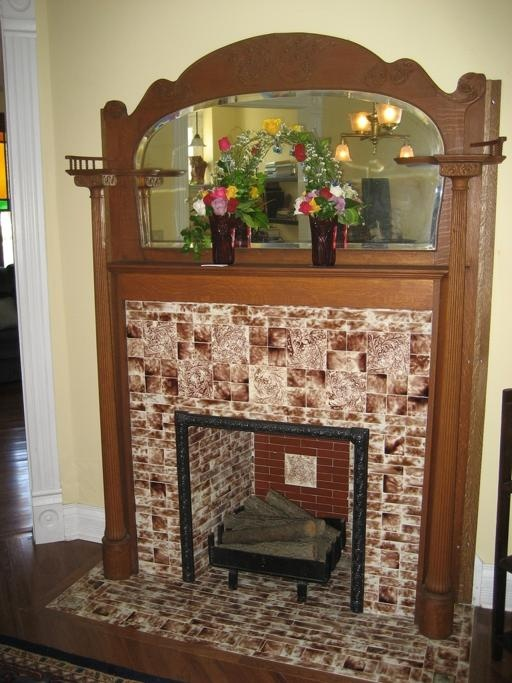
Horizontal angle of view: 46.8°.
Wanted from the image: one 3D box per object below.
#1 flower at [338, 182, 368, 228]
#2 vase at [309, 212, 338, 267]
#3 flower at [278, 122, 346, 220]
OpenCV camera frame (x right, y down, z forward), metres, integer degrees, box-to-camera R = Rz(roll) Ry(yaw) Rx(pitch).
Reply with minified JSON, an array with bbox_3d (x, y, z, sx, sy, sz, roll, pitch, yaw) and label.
[{"bbox_3d":[0.355,-0.511,2.215,0.087,0.159,0.140,0,9,13],"label":"flower"},{"bbox_3d":[0.256,-0.374,2.245,0.096,0.183,0.181,-1,9,7],"label":"vase"},{"bbox_3d":[0.201,-0.638,2.227,0.282,0.358,0.159,7,13,44],"label":"flower"}]
